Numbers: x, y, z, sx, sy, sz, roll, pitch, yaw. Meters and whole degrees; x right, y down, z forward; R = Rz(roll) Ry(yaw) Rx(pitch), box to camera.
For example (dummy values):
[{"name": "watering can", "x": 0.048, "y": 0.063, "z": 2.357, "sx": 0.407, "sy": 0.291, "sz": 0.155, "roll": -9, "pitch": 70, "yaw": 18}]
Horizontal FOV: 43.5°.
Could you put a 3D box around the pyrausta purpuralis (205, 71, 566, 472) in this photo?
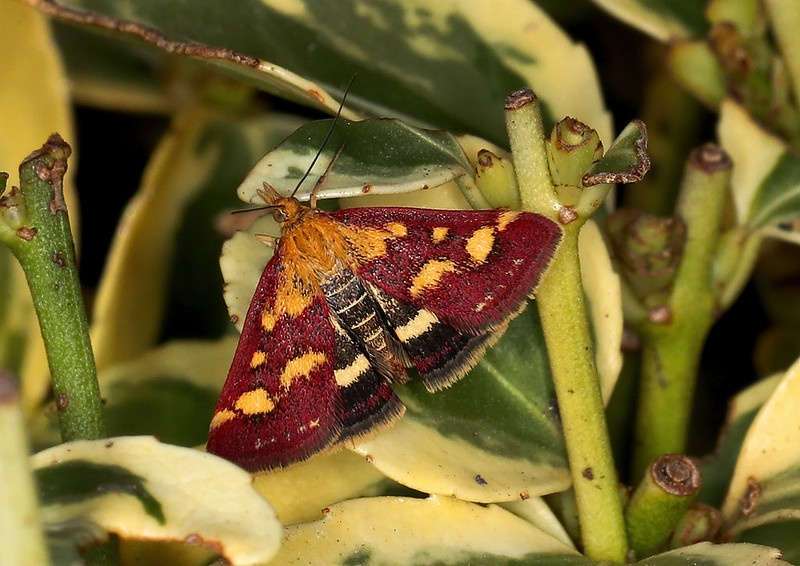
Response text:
[{"name": "pyrausta purpuralis", "x": -0.054, "y": -0.023, "z": 0.966, "sx": 0.420, "sy": 0.113, "sz": 0.305, "roll": -34, "pitch": 50, "yaw": -26}]
